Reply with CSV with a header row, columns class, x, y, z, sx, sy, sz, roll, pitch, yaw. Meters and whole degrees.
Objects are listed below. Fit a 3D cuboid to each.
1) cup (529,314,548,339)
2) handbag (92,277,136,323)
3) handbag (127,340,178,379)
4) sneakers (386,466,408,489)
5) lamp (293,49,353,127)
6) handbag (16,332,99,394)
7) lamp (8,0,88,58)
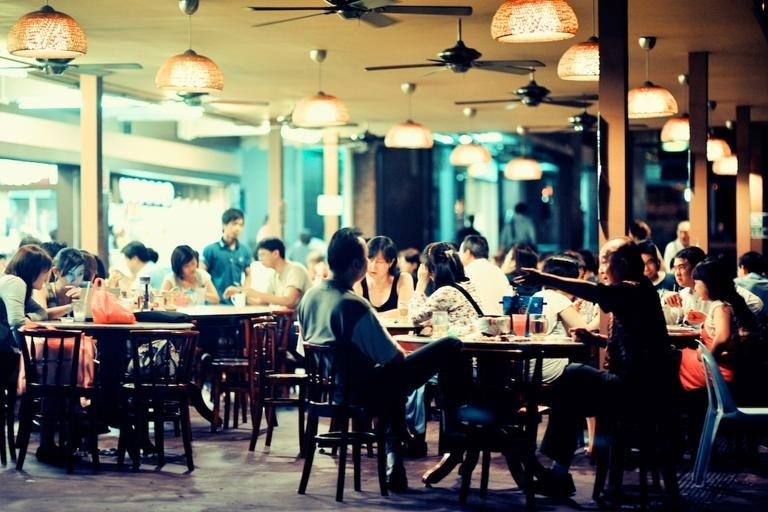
class,x,y,z,sx,sy,sz,roll,pitch,yaw
cup,1.292,0.596,7.929,0.167,0.174,0.168,2,-3,0
handbag,-2.483,0.430,8.697,0.435,0.437,0.286,4,10,-30
handbag,-2.071,0.923,8.677,0.353,0.172,0.437,0,0,-9
sneakers,0.115,1.876,8.062,0.192,0.193,0.137,3,-1,30
lamp,-0.731,-1.972,10.951,0.769,0.832,0.730,0,7,14
handbag,-2.935,0.982,8.589,0.659,0.800,0.552,2,12,-10
lamp,-3.229,-2.102,9.249,0.598,0.444,0.607,0,-2,6
